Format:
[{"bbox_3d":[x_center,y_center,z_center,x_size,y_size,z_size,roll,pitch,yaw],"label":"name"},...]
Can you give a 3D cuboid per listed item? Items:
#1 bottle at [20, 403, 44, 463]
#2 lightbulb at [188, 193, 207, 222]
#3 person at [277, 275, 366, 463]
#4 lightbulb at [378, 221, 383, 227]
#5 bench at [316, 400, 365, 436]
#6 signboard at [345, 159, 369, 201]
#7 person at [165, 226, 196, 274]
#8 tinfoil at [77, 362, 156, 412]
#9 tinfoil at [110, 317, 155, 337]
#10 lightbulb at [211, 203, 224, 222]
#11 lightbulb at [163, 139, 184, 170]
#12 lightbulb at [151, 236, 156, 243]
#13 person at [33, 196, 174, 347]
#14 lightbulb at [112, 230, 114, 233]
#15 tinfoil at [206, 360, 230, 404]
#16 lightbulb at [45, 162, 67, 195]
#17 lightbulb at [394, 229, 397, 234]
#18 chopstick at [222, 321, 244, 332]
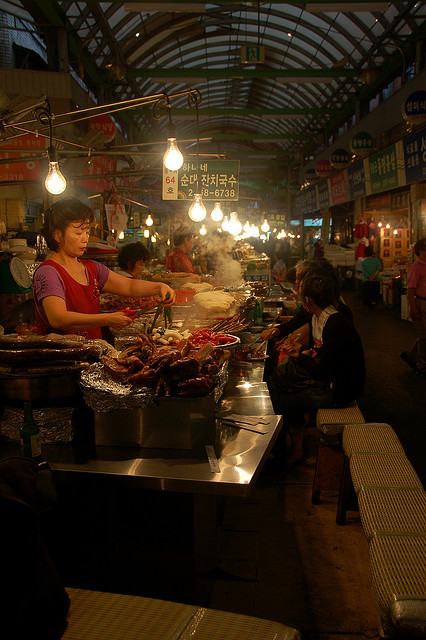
[{"bbox_3d":[-0.540,0.322,1.350,0.059,0.174,0.132,-6,7,-23],"label":"bottle"},{"bbox_3d":[-0.210,-1.510,5.993,0.200,0.403,0.724,-4,7,-2],"label":"lightbulb"},{"bbox_3d":[0.796,0.361,3.347,0.654,1.371,0.651,9,15,35],"label":"person"},{"bbox_3d":[5.336,-3.063,14.648,0.103,0.139,0.103,0,30,19],"label":"lightbulb"},{"bbox_3d":[0.779,0.608,2.849,0.232,0.091,0.307,-2,2,5],"label":"bench"},{"bbox_3d":[3.793,-3.795,12.684,0.079,0.870,1.221,-11,7,-24],"label":"signboard"},{"bbox_3d":[-0.456,-1.028,6.788,0.396,0.745,0.758,-2,9,-26],"label":"person"},{"bbox_3d":[-0.302,0.211,1.351,0.139,0.127,0.269,-10,9,-43],"label":"tinfoil"},{"bbox_3d":[-0.400,0.038,2.363,0.148,0.053,0.156,-1,6,9],"label":"tinfoil"},{"bbox_3d":[0.055,-1.789,7.510,0.179,0.312,0.528,-3,7,1],"label":"lightbulb"},{"bbox_3d":[-0.327,-1.365,3.695,0.137,0.265,0.404,-4,7,-5],"label":"lightbulb"},{"bbox_3d":[-1.868,-2.544,14.310,0.183,0.178,0.181,1,-3,-14],"label":"lightbulb"},{"bbox_3d":[-0.568,-0.274,2.258,0.527,0.640,0.721,-3,7,0],"label":"person"},{"bbox_3d":[-1.701,-1.516,7.799,0.056,0.055,0.055,-3,9,-5],"label":"lightbulb"},{"bbox_3d":[0.019,0.211,1.590,0.072,0.034,0.136,-3,14,5],"label":"tinfoil"},{"bbox_3d":[-1.230,-1.125,3.563,0.128,0.259,0.368,-6,7,-17],"label":"lightbulb"},{"bbox_3d":[5.778,-2.819,14.590,0.075,0.154,0.124,-1,7,21],"label":"lightbulb"},{"bbox_3d":[0.107,0.023,2.370,0.019,0.013,0.184,-31,-6,40],"label":"chopstick"}]
